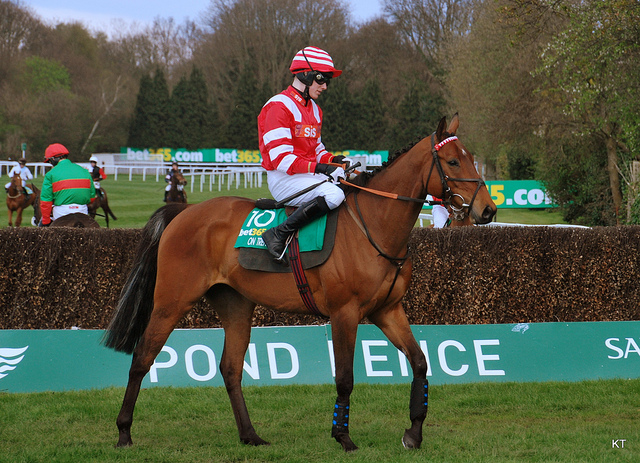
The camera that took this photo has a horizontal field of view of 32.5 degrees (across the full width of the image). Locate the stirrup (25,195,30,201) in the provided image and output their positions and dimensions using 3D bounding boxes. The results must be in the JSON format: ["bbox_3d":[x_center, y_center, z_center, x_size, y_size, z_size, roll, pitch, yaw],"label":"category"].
[{"bbox_3d":[-7.881,-0.921,29.491,0.130,0.139,0.032,-18,-6,-7],"label":"stirrup"}]

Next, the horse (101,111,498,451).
[{"bbox_3d":[-0.533,1.096,18.155,6.771,5.306,1.669,-1,-1,20],"label":"horse"}]

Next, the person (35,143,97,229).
[{"bbox_3d":[-5.075,-0.948,21.898,0.954,1.596,0.574,0,4,-11],"label":"person"}]

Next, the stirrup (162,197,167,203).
[{"bbox_3d":[-4.866,-0.994,34.303,0.186,0.194,0.066,3,1,30],"label":"stirrup"}]

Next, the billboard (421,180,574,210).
[{"bbox_3d":[4.882,-1.003,30.327,4.190,0.936,0.047,1,-16,22],"label":"billboard"}]
